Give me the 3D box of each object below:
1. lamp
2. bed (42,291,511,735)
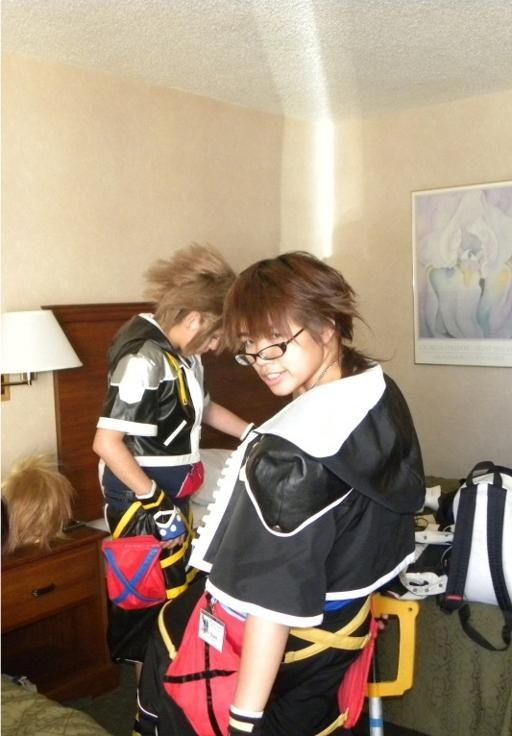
[{"bbox_3d":[-0.740,-0.089,1.805,0.152,0.205,0.329,0,3,18],"label":"lamp"},{"bbox_3d":[0.013,0.344,2.052,1.251,0.747,1.276,-4,1,31],"label":"bed"}]
